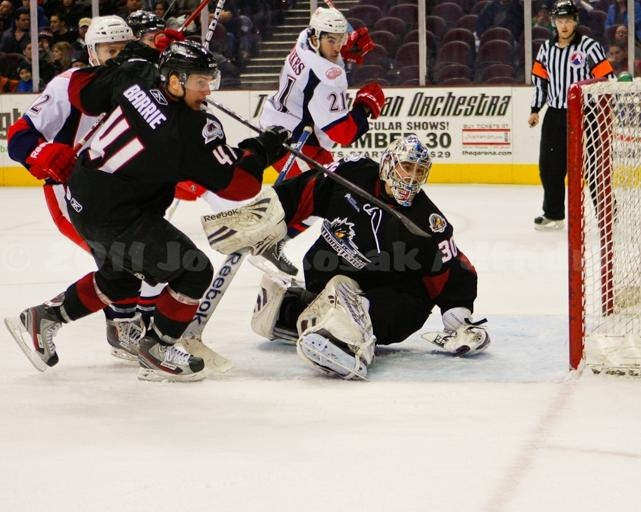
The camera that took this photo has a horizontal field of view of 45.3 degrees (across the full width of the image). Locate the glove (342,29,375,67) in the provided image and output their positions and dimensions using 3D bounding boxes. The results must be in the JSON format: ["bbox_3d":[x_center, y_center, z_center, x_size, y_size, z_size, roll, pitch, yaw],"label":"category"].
[{"bbox_3d":[0.259,-1.474,5.302,0.135,0.263,0.341,-4,16,-9],"label":"glove"}]

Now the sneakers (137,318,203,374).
[{"bbox_3d":[-0.572,0.383,3.043,0.368,0.213,0.115,-1,3,34],"label":"sneakers"}]

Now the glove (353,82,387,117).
[{"bbox_3d":[0.296,-0.973,4.687,0.181,0.128,0.234,18,48,-13],"label":"glove"}]

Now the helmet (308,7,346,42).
[{"bbox_3d":[0.040,-1.385,4.567,0.237,0.184,0.153,-3,35,0],"label":"helmet"}]

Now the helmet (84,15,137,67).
[{"bbox_3d":[-1.000,-1.043,3.688,0.214,0.247,0.245,-4,12,-12],"label":"helmet"}]

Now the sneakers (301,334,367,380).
[{"bbox_3d":[0.056,0.390,3.009,0.284,0.145,0.101,17,-8,-9],"label":"sneakers"}]

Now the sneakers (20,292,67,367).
[{"bbox_3d":[-1.109,0.306,3.127,0.177,0.283,0.153,-6,13,-19],"label":"sneakers"}]

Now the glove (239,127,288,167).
[{"bbox_3d":[-0.215,-0.434,3.038,0.221,0.162,0.143,-4,12,-17],"label":"glove"}]

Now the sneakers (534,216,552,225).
[{"bbox_3d":[1.829,-0.300,6.442,0.135,0.048,0.065,-1,18,6],"label":"sneakers"}]

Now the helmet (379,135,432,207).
[{"bbox_3d":[0.349,-0.369,3.227,0.251,0.280,0.310,0,2,-9],"label":"helmet"}]

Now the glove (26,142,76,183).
[{"bbox_3d":[-1.105,-0.391,3.154,0.238,0.156,0.145,10,16,44],"label":"glove"}]

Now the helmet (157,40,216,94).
[{"bbox_3d":[-0.480,-0.715,2.879,0.248,0.166,0.190,10,24,17],"label":"helmet"}]
